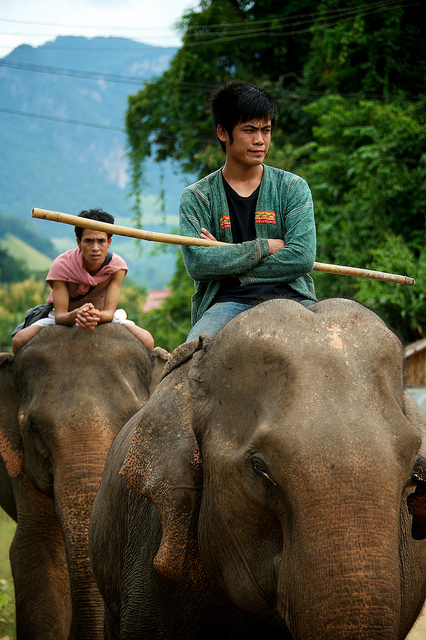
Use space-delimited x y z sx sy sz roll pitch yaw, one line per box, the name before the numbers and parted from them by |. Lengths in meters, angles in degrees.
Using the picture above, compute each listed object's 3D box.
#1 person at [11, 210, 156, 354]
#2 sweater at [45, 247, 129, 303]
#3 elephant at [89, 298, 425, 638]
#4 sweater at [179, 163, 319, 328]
person | -0.662 -0.172 4.668 0.852 0.858 0.739 0 -7 -11
sweater | -0.616 -0.228 4.578 0.409 0.247 0.195 -4 4 -5
elephant | -0.102 0.508 2.657 0.731 0.883 1.317 8 -21 -17
sweater | 0.115 -0.260 3.016 0.456 0.462 0.286 -3 10 2
